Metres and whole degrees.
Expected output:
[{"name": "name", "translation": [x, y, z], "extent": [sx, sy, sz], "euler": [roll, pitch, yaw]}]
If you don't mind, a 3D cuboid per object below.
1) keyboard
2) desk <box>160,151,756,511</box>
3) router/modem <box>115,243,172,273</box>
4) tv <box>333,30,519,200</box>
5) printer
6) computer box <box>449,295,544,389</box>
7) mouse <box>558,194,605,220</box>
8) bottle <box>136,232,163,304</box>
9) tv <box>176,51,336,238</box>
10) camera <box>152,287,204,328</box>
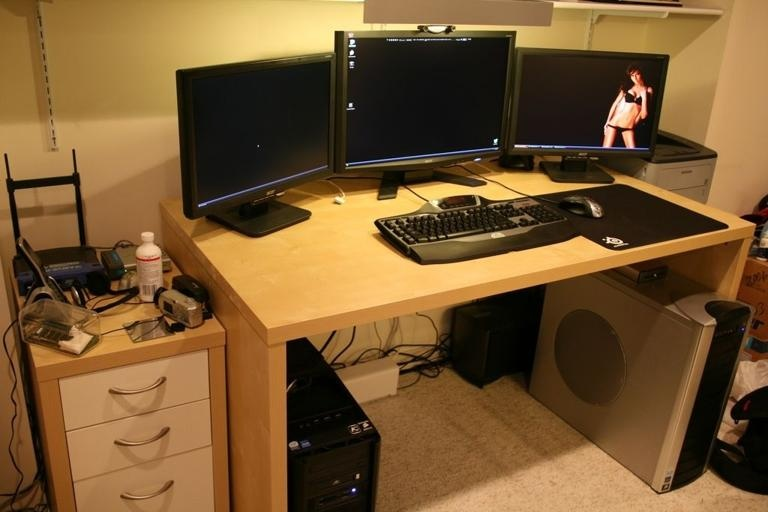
[{"name": "keyboard", "translation": [0.351, -0.090, 2.196], "extent": [0.400, 0.052, 0.246], "euler": [-14, 34, -26]}, {"name": "desk", "translation": [0.306, 0.232, 2.558], "extent": [2.227, 1.021, 1.060], "euler": [-12, 27, -22]}, {"name": "router/modem", "translation": [-0.960, 0.001, 2.236], "extent": [0.131, 0.029, 0.125], "euler": [-9, 31, -32]}, {"name": "tv", "translation": [0.154, -0.604, 2.443], "extent": [0.652, 0.611, 0.230], "euler": [-9, 28, -23]}, {"name": "printer", "translation": [1.330, -0.455, 3.003], "extent": [0.463, 0.376, 0.474], "euler": [-4, 23, -18]}, {"name": "computer box", "translation": [0.585, 0.448, 3.003], "extent": [0.483, 0.468, 0.279], "euler": [-17, 32, -24]}, {"name": "mouse", "translation": [0.816, -0.220, 2.402], "extent": [0.146, 0.049, 0.091], "euler": [25, 27, 28]}, {"name": "bottle", "translation": [-0.835, 0.043, 2.133], "extent": [0.093, 0.231, 0.120], "euler": [-9, 25, -27]}, {"name": "tv", "translation": [-0.470, -0.403, 2.116], "extent": [0.239, 0.513, 0.579], "euler": [25, 33, 36]}, {"name": "camera", "translation": [-0.696, 0.172, 2.031], "extent": [0.208, 0.098, 0.083], "euler": [30, 38, 30]}]
